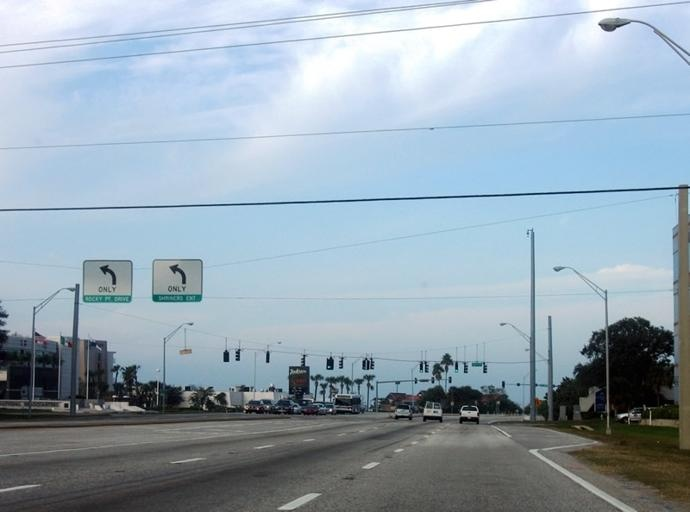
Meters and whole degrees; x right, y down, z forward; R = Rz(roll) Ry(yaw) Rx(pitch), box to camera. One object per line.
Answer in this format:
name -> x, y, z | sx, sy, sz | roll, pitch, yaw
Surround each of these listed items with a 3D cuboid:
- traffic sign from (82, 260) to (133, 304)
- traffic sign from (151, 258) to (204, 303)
traffic sign -> -13.766, 1.473, 51.709 | 2.707, 2.430, 0.476 | -1, -11, 3
traffic sign -> -9.712, 1.423, 51.237 | 2.766, 2.701, 1.527 | 1, -12, -4
